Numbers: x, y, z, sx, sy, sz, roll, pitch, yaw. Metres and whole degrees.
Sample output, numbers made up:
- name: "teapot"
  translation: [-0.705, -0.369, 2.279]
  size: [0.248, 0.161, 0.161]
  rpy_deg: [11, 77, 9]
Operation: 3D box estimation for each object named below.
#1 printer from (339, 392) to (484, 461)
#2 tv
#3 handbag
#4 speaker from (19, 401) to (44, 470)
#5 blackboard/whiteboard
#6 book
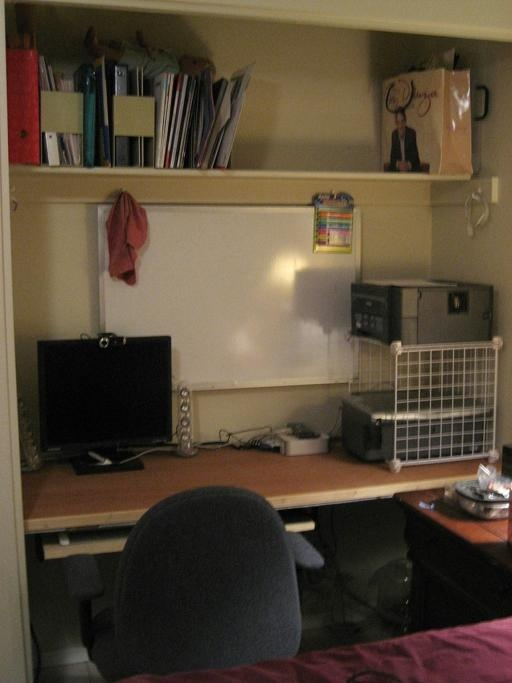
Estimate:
- name: "printer"
  translation: [0.577, 0.304, 2.363]
  size: [0.472, 0.228, 0.328]
  rpy_deg: [-1, 3, -18]
- name: "tv"
  translation: [-0.528, 0.213, 2.185]
  size: [0.421, 0.438, 0.137]
  rpy_deg: [-2, 3, -21]
- name: "handbag"
  translation: [0.626, -0.779, 2.279]
  size: [0.152, 0.415, 0.431]
  rpy_deg: [-9, 13, -25]
- name: "speaker"
  translation: [-0.786, 0.314, 2.210]
  size: [0.073, 0.232, 0.185]
  rpy_deg: [-1, 3, -20]
- name: "blackboard/whiteboard"
  translation: [-0.131, -0.185, 2.406]
  size: [0.720, 0.530, 0.028]
  rpy_deg: [-2, 6, -20]
- name: "book"
  translation: [-0.387, -0.762, 2.006]
  size: [0.710, 0.461, 0.265]
  rpy_deg: [-1, 3, -9]
